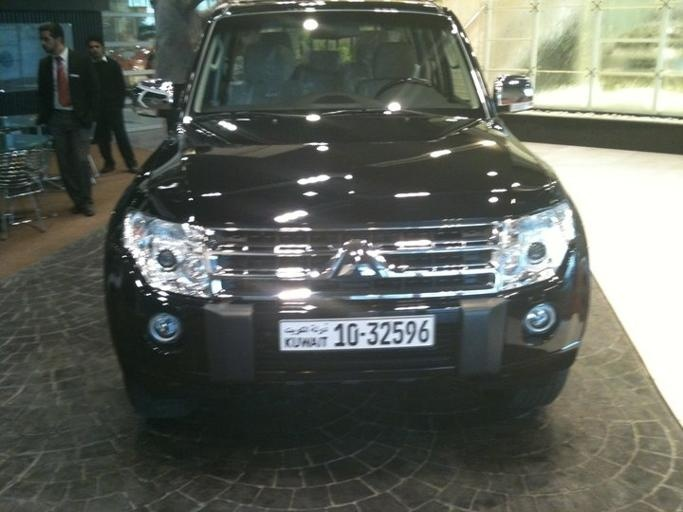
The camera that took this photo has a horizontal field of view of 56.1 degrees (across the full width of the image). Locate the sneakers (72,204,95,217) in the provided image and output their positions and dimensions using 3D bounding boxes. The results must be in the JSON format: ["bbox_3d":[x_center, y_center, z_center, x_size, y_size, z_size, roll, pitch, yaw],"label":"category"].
[{"bbox_3d":[-3.160,-0.537,7.723,0.377,0.121,0.130,-4,2,42],"label":"sneakers"}]

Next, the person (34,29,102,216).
[{"bbox_3d":[-3.184,-1.573,7.535,0.645,2.186,0.651,-4,21,-9],"label":"person"}]
